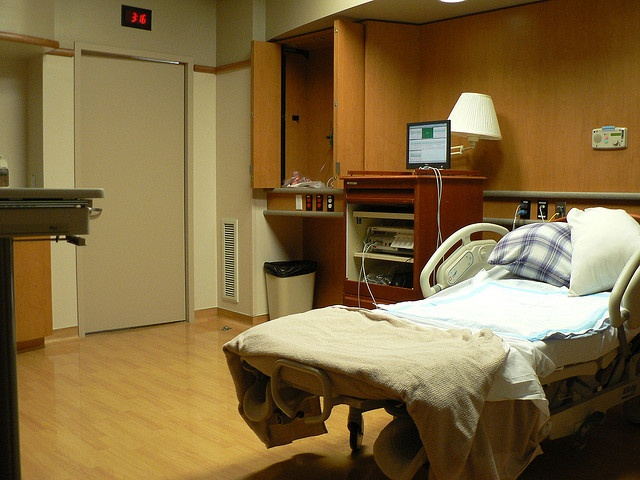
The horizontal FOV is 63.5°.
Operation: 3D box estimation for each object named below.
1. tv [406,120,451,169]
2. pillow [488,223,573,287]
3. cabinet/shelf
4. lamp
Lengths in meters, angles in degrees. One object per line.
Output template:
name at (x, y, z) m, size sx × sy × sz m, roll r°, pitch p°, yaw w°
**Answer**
tv at (0.816, -0.706, 3.837) m, size 0.357 × 0.396 × 0.135 m, roll 1°, pitch -1°, yaw 37°
pillow at (1.328, 0.073, 3.160) m, size 0.356 × 0.217 × 0.400 m, roll 9°, pitch 23°, yaw 36°
cabinet/shelf at (0.018, -1.070, 4.631) m, size 0.837 × 1.620 × 1.443 m, roll -7°, pitch 10°, yaw -44°
lamp at (1.213, -0.895, 3.985) m, size 0.379 × 0.446 × 0.495 m, roll 2°, pitch 8°, yaw 20°
